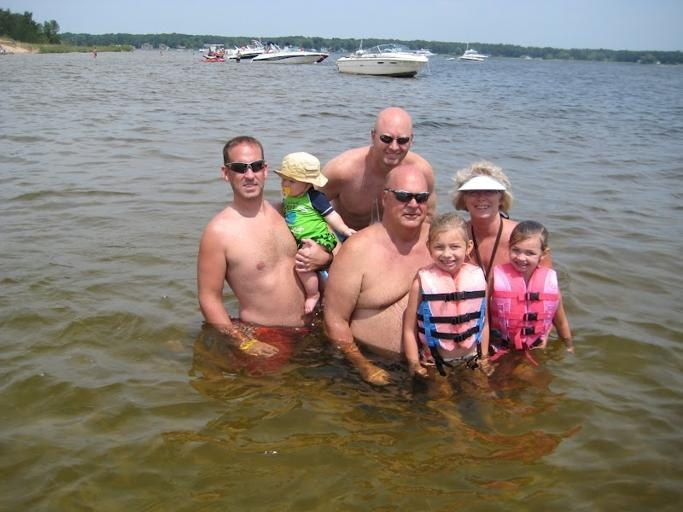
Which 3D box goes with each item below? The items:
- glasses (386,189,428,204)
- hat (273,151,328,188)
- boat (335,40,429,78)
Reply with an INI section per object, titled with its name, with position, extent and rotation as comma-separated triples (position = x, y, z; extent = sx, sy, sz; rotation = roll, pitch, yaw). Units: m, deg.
[glasses]
position = 0.681, -0.631, 6.952
extent = 0.440, 0.141, 0.166
rotation = 1, 23, 2
[hat]
position = -0.486, -1.006, 7.718
extent = 0.518, 0.217, 0.459
rotation = 10, 9, 25
[boat]
position = 2.983, -13.377, 45.874
extent = 2.595, 2.060, 6.846
rotation = -16, 27, -33
